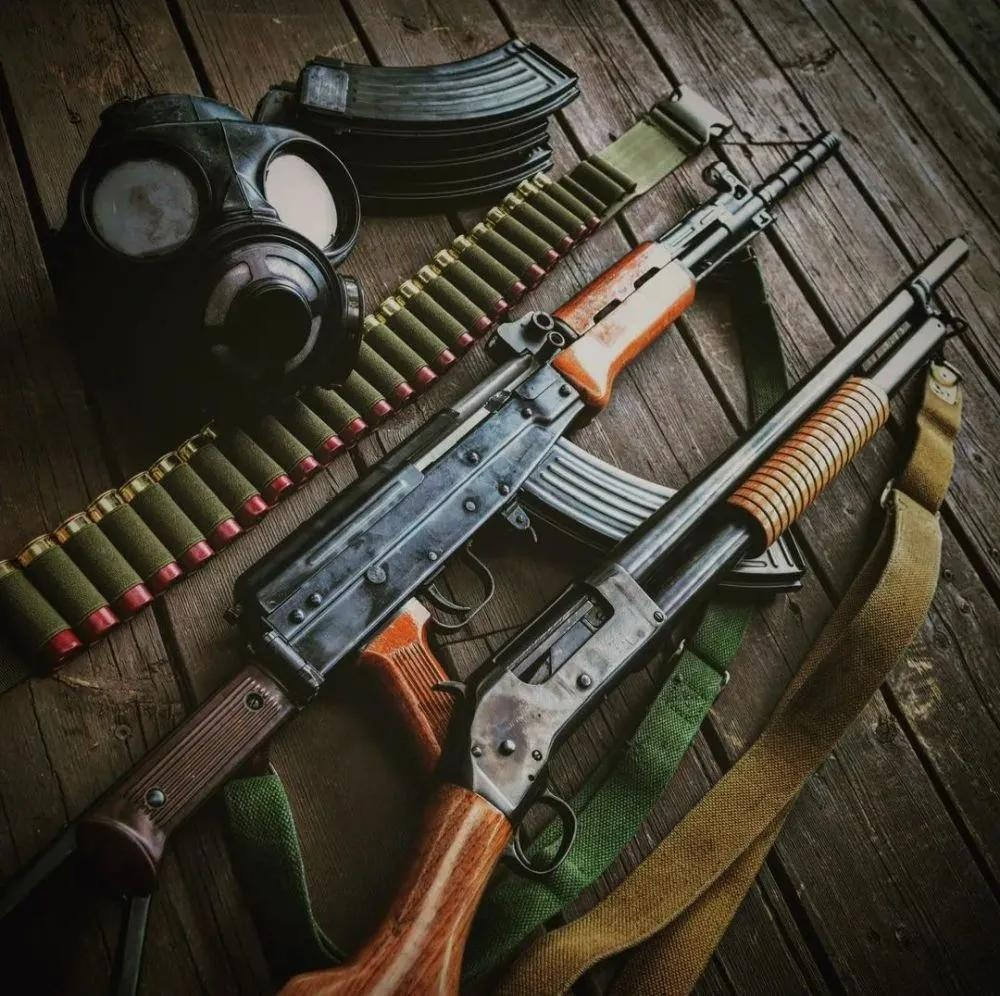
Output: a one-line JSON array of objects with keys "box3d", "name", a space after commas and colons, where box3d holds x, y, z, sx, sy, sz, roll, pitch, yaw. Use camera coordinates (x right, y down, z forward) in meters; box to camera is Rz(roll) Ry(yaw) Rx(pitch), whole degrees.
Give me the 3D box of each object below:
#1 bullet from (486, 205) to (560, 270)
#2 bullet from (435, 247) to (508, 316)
[{"box3d": [0.044, -0.595, 2.150, 0.171, 0.049, 0.052, 28, 42, -27], "name": "bullet"}, {"box3d": [-0.064, -0.461, 2.057, 0.157, 0.047, 0.041, 50, -13, 14], "name": "bullet"}]
